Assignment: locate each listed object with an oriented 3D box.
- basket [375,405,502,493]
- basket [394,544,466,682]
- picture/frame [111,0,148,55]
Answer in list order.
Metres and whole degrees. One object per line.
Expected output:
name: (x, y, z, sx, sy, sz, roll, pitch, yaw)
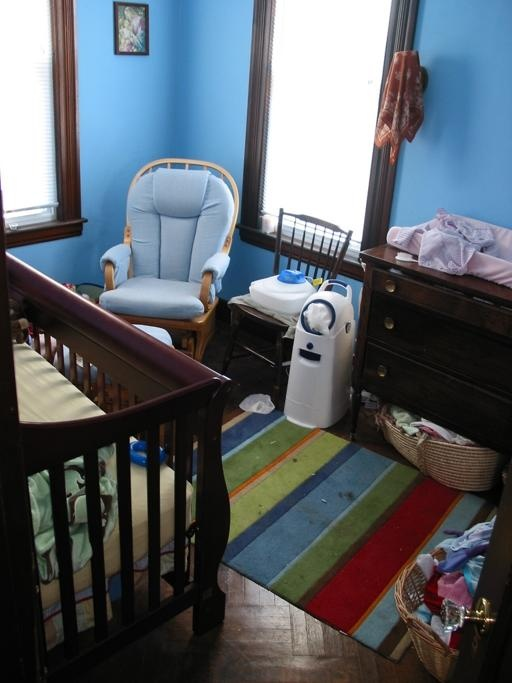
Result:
basket: (0.823, 0.509, 2.426, 0.292, 0.199, 0.383, -12, 27, -35)
basket: (0.511, 0.765, 1.519, 0.226, 0.188, 0.235, -3, 27, -32)
picture/frame: (-0.823, -2.025, 3.384, 0.020, 0.323, 0.284, 17, 26, 32)
